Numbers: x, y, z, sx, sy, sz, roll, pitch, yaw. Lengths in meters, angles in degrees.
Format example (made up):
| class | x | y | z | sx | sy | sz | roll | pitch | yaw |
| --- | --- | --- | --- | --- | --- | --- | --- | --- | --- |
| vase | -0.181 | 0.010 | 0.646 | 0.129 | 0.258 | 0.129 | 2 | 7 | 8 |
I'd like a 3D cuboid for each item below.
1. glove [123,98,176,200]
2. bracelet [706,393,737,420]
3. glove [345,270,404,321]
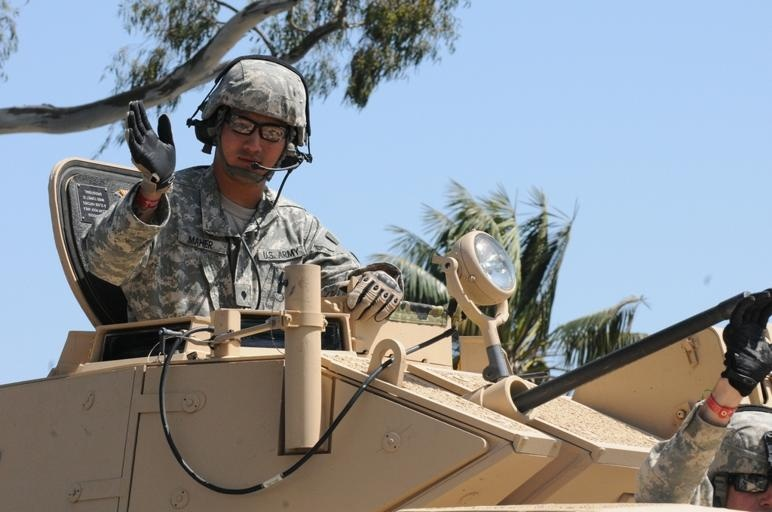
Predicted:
| class | x | y | z | sx | sy | sz | roll | pitch | yaw |
| --- | --- | --- | --- | --- | --- | --- | --- | --- | --- |
| glove | -1.553 | -0.688 | 7.060 | 0.311 | 0.625 | 0.240 | 0 | 14 | -15 |
| bracelet | 1.994 | 0.901 | 6.349 | 0.150 | 0.068 | 0.138 | 27 | -5 | 22 |
| glove | -0.079 | 0.238 | 7.641 | 0.294 | 0.177 | 0.388 | 22 | -43 | -26 |
